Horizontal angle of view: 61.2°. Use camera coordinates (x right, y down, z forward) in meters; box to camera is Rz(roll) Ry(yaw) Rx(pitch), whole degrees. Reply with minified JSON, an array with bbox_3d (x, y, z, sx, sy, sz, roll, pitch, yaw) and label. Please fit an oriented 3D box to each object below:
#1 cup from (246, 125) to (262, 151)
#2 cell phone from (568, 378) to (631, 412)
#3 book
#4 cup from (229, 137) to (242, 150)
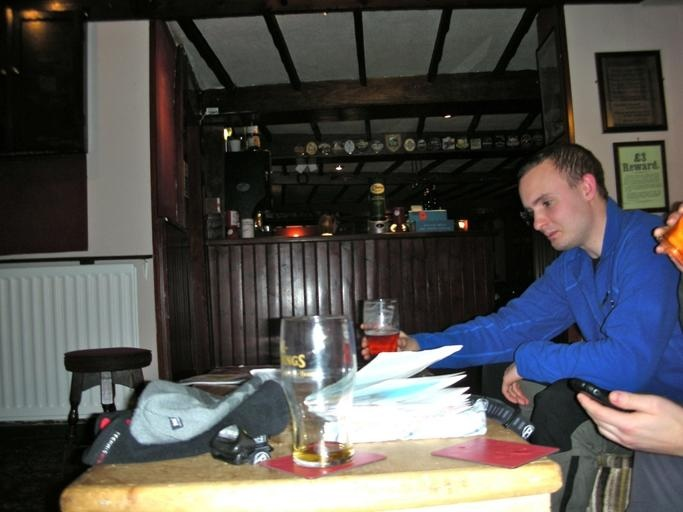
[{"bbox_3d":[-0.976,-1.299,6.314,0.126,0.249,0.467,-4,12,-10],"label":"cup"},{"bbox_3d":[0.640,0.330,1.444,0.090,0.022,0.087,23,-2,-40],"label":"cell phone"},{"bbox_3d":[0.143,0.312,1.459,0.359,0.123,0.267,1,-6,-15],"label":"book"},{"bbox_3d":[-1.118,-1.176,6.079,0.134,0.126,0.123,0,8,0],"label":"cup"}]
